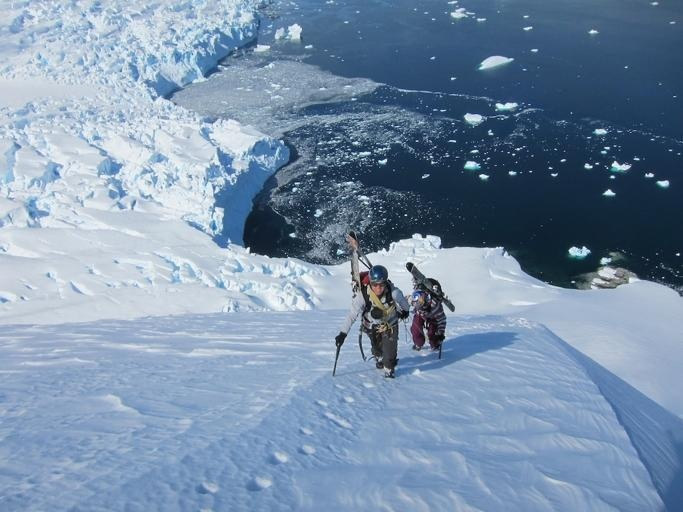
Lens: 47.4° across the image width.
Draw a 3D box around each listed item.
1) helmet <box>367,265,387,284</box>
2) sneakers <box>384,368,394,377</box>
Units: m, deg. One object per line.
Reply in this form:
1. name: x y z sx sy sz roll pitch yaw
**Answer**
1. helmet: 1.056 0.506 21.923 0.551 0.486 0.532 0 38 -2
2. sneakers: 1.407 3.379 22.563 0.293 0.286 0.200 -2 92 -11
